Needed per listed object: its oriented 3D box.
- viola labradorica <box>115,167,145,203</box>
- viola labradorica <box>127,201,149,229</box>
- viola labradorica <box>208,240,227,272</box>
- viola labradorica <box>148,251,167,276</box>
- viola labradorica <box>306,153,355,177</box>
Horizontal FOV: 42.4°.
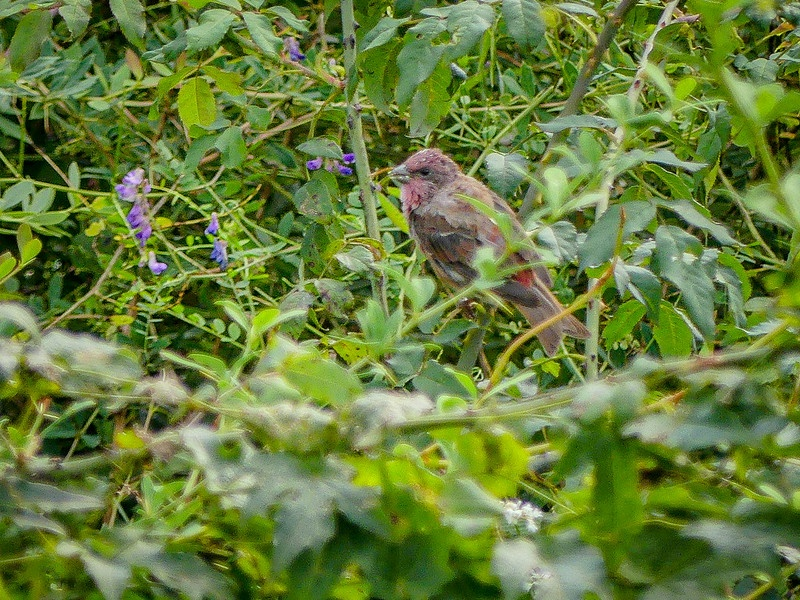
[{"bbox_3d":[-0.918,-0.379,3.487,0.087,0.062,0.121,32,84,-12],"label":"viola labradorica"},{"bbox_3d":[-0.897,-0.286,3.489,0.079,0.041,0.084,-15,99,-32],"label":"viola labradorica"},{"bbox_3d":[-0.634,-0.150,3.483,0.054,0.103,0.085,11,93,19],"label":"viola labradorica"},{"bbox_3d":[-0.845,-0.119,3.469,0.043,0.065,0.075,-13,82,11],"label":"viola labradorica"},{"bbox_3d":[-0.259,-0.484,3.725,0.177,0.141,0.053,0,87,0],"label":"viola labradorica"}]
